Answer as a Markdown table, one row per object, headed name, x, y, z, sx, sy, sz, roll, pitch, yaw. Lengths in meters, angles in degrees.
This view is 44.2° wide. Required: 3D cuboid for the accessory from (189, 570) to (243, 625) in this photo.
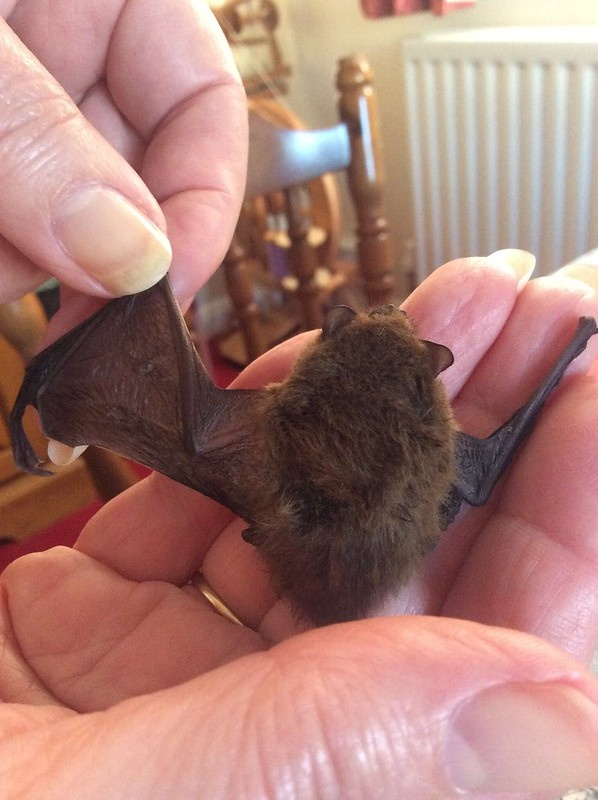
| name | x | y | z | sx | sy | sz | roll | pitch | yaw |
| --- | --- | --- | --- | --- | --- | --- | --- | --- | --- |
| accessory | -0.144 | 0.356 | 1.316 | 0.047 | 0.016 | 0.109 | -5 | 36 | -36 |
